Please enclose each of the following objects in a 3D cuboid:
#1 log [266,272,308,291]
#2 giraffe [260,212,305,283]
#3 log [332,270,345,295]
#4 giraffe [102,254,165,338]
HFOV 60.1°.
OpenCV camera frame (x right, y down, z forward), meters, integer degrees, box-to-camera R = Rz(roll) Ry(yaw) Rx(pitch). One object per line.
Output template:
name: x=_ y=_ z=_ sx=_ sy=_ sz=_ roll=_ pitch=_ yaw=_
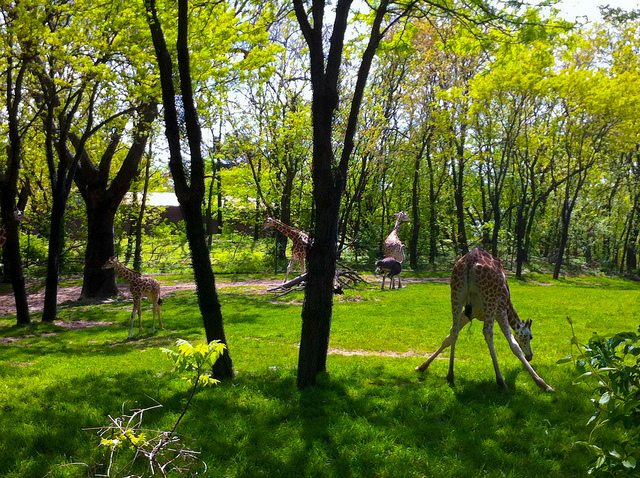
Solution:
log: x=-1.772 y=2.316 z=29.423 sx=2.476 sy=0.378 sz=0.366 roll=-25 pitch=-51 yaw=15
giraffe: x=-1.604 y=0.634 z=30.090 sx=3.138 sy=3.856 sz=0.985 roll=-2 pitch=21 yaw=-24
log: x=0.987 y=2.173 z=27.211 sx=0.480 sy=1.203 sz=2.411 roll=2 pitch=6 yaw=4
giraffe: x=-6.946 y=2.143 z=21.068 sx=1.787 sy=2.705 sz=2.693 roll=-1 pitch=7 yaw=-22
